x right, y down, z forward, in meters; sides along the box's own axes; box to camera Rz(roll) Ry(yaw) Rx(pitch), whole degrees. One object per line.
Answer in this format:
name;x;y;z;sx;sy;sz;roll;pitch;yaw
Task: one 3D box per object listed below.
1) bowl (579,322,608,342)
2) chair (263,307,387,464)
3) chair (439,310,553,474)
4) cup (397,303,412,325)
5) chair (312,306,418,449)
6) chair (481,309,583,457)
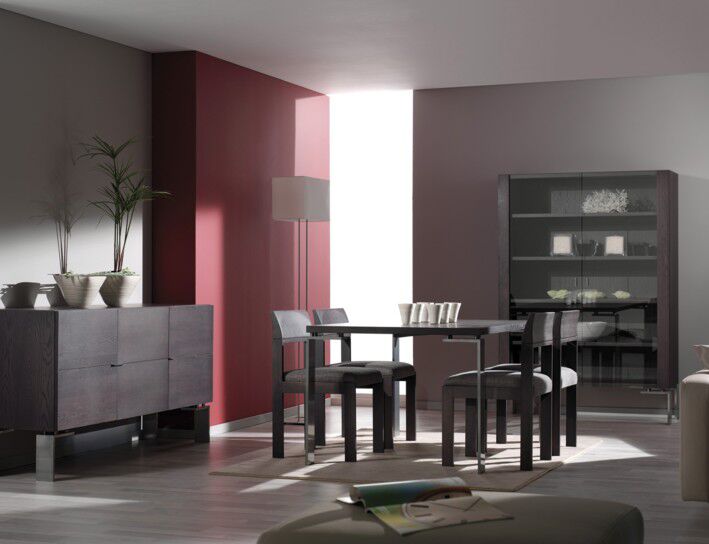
bowl;2.222;0.549;5.879;0.166;0.083;0.233;0;1;0
chair;-0.197;0.799;4.678;0.804;0.996;0.769;-5;-6;42
chair;0.988;0.805;4.421;0.625;0.979;0.748;0;-7;18
cup;0.343;0.280;4.291;0.091;0.134;0.107;-1;-1;12
chair;0.067;0.835;5.144;0.865;1.075;0.769;3;0;44
chair;1.053;0.783;4.484;0.690;1.036;0.693;7;-6;-44
